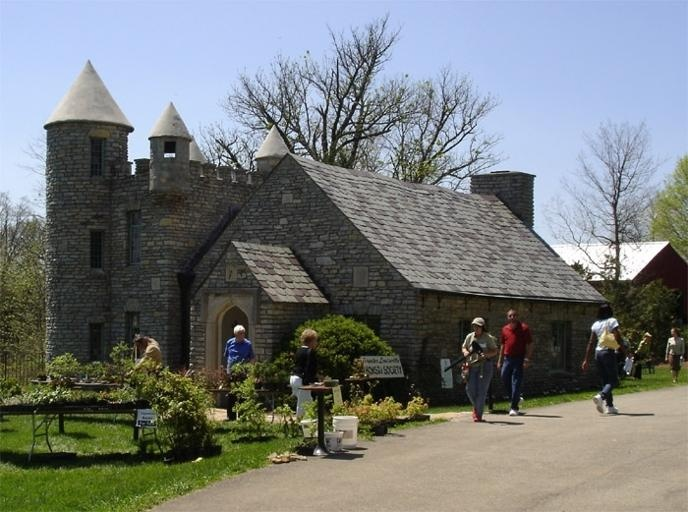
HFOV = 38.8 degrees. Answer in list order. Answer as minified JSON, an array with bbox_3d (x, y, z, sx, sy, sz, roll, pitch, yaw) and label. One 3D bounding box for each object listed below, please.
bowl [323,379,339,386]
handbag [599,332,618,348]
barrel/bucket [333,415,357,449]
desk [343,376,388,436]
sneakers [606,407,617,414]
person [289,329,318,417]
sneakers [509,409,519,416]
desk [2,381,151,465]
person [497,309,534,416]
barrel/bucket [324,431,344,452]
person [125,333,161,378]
[{"bbox_3d":[-0.316,2.889,22.209,0.205,0.093,0.220,0,-5,0],"label":"bowl"},{"bbox_3d":[6.540,2.067,24.034,0.299,0.135,0.313,14,-45,27],"label":"handbag"},{"bbox_3d":[-0.022,3.861,21.150,0.677,0.847,0.716,1,-6,0],"label":"barrel/bucket"},{"bbox_3d":[0.582,3.588,23.215,0.908,1.215,0.994,3,-9,2],"label":"desk"},{"bbox_3d":[6.610,3.802,24.060,0.288,0.234,0.112,-3,3,-35],"label":"sneakers"},{"bbox_3d":[-0.853,2.803,22.007,0.637,2.357,0.642,2,13,0],"label":"person"},{"bbox_3d":[4.314,3.966,24.620,0.259,0.154,0.392,-5,-13,8],"label":"sneakers"},{"bbox_3d":[-6.693,3.952,23.727,3.808,2.258,6.535,-1,-14,-13],"label":"desk"},{"bbox_3d":[4.322,2.787,24.545,0.962,2.406,0.582,-11,-14,35],"label":"person"},{"bbox_3d":[-0.209,3.943,20.665,0.364,0.315,0.351,-1,-6,0],"label":"barrel/bucket"},{"bbox_3d":[-4.810,2.691,23.852,0.733,1.511,0.633,5,-23,-45],"label":"person"}]
